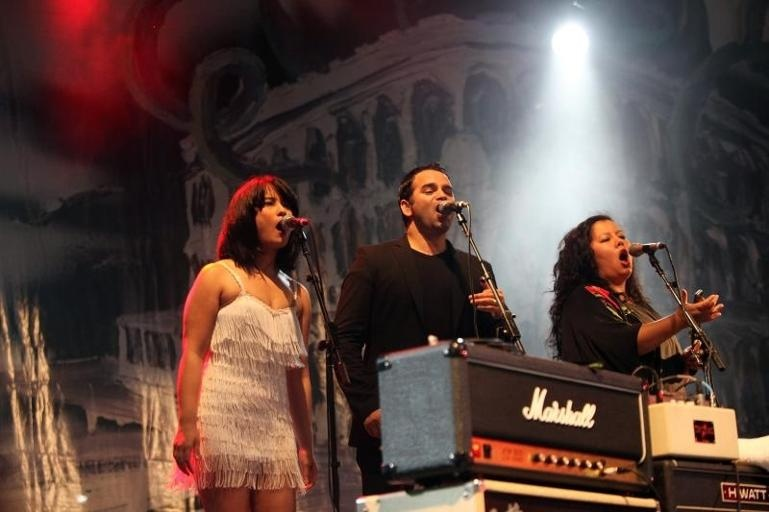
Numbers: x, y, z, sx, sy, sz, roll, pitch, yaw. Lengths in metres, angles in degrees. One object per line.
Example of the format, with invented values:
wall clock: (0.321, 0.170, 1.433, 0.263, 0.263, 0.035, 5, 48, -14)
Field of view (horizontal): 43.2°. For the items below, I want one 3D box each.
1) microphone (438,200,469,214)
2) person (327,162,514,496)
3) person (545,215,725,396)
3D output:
microphone: (0.474, -0.305, 6.486, 0.076, 0.092, 0.252, -11, -1, -28)
person: (0.197, 0.412, 6.420, 1.034, 2.233, 0.437, -4, -12, -5)
person: (1.641, 0.268, 6.716, 0.877, 1.318, 1.299, 1, -14, -24)
